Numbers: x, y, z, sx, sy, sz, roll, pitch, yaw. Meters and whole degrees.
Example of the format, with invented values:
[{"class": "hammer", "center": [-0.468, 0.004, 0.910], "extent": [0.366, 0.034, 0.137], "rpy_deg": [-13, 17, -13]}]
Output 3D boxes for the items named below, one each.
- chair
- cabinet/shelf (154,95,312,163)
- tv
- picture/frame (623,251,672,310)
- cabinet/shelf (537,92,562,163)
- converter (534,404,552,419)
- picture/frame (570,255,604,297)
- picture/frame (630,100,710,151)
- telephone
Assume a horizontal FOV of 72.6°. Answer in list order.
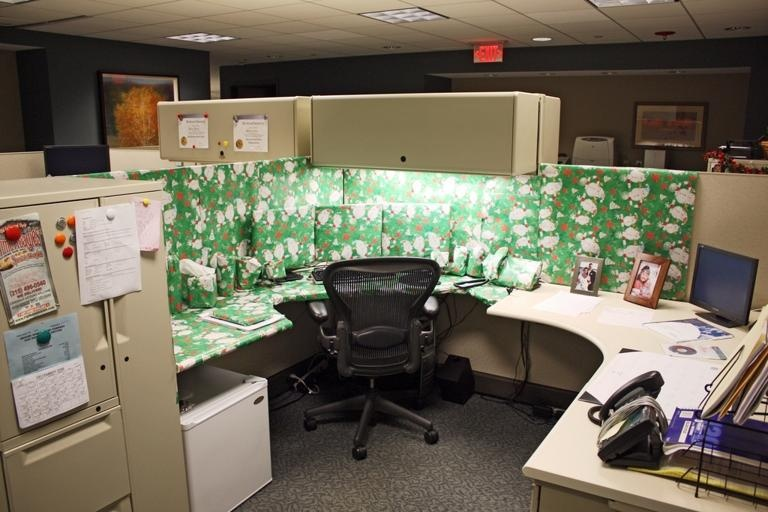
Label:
[{"class": "chair", "center": [-0.082, 0.534, 3.430], "extent": [0.848, 1.199, 0.936], "rpy_deg": [-2, 11, -10]}, {"class": "cabinet/shelf", "center": [-1.085, -0.902, 3.916], "extent": [1.101, 0.422, 0.334], "rpy_deg": [3, 13, 10]}, {"class": "tv", "center": [1.911, 0.175, 2.914], "extent": [0.160, 0.436, 0.365], "rpy_deg": [-6, 15, -35]}, {"class": "picture/frame", "center": [1.623, 0.159, 3.193], "extent": [0.258, 0.413, 0.121], "rpy_deg": [9, -17, 39]}, {"class": "cabinet/shelf", "center": [1.104, -0.829, 3.479], "extent": [0.110, 0.434, 0.411], "rpy_deg": [4, 14, 21]}, {"class": "converter", "center": [1.072, 1.040, 3.519], "extent": [0.130, 0.073, 0.088], "rpy_deg": [5, -10, 11]}, {"class": "picture/frame", "center": [1.309, 0.138, 3.347], "extent": [0.225, 0.348, 0.023], "rpy_deg": [6, -7, 36]}, {"class": "picture/frame", "center": [4.731, -2.132, 8.681], "extent": [1.067, 0.825, 0.039], "rpy_deg": [12, 43, 35]}, {"class": "telephone", "center": [0.967, 0.617, 2.040], "extent": [0.237, 0.276, 0.383], "rpy_deg": [-6, 0, 27]}]
